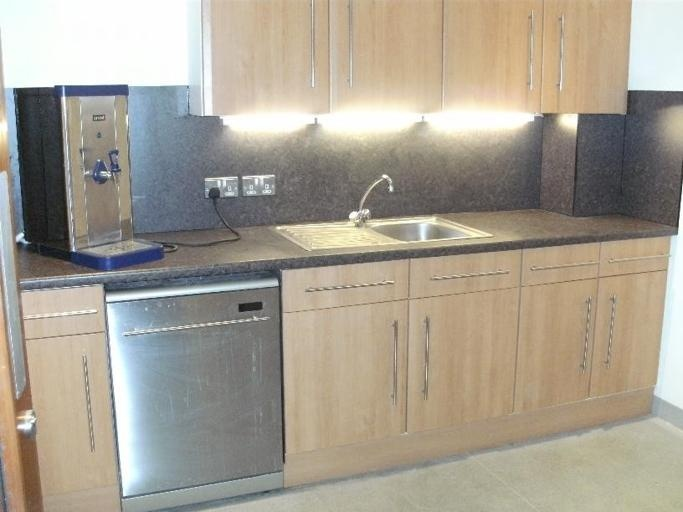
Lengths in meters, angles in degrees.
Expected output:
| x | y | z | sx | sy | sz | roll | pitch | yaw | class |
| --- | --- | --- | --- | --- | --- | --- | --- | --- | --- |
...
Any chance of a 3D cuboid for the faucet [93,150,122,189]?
| x | y | z | sx | sy | sz | roll | pitch | yaw | class |
| --- | --- | --- | --- | --- | --- | --- | --- | --- | --- |
| -1.011 | -0.380 | 2.868 | 0.125 | 0.136 | 0.063 | -8 | -13 | -19 | faucet |
